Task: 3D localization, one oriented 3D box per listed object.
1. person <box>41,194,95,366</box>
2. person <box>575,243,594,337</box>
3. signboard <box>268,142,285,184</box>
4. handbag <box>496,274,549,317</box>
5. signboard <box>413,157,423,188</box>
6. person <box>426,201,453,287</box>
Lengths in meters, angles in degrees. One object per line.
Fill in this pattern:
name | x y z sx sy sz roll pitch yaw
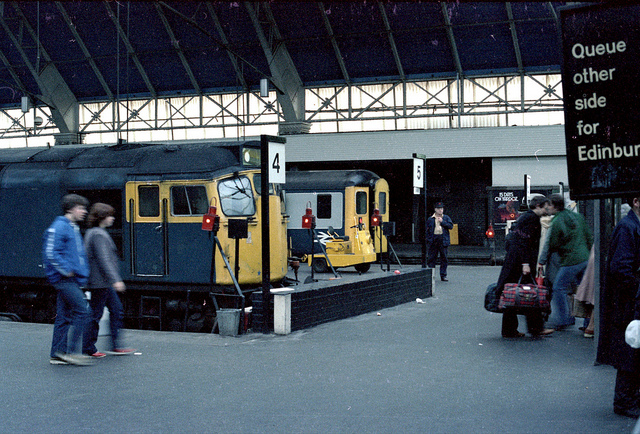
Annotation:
person | -4.208 1.089 14.708 0.768 2.860 0.494 -3 8 -25
person | 5.012 1.479 16.480 0.325 1.556 0.270 2 7 21
signboard | -0.865 -1.085 17.469 0.090 0.996 0.830 -1 -1 26
handbag | 3.838 1.431 16.206 0.900 0.846 0.395 3 -23 12
signboard | 2.556 -1.157 22.660 0.119 0.919 0.748 -1 -3 21
person | 3.460 0.759 25.426 0.701 2.306 0.962 1 7 6
